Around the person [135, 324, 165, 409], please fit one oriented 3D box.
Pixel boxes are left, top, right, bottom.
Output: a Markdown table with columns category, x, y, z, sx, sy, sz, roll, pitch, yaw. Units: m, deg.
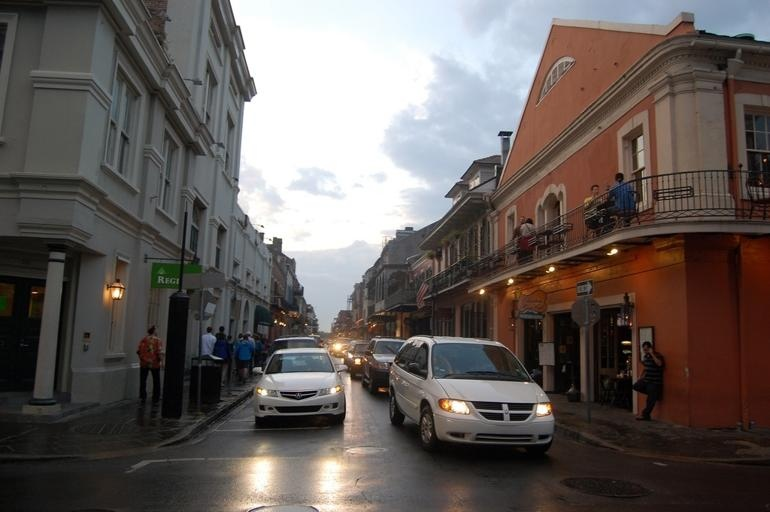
| category | x | y | z | sx | sy | sz | roll | pitch | yaw |
| --- | --- | --- | --- | --- | --- | --- | --- | --- | --- |
| person | -7.235 | 3.337 | 18.384 | 0.746 | 2.311 | 1.461 | 6 | -13 | -22 |

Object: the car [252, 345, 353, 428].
| category | x | y | z | sx | sy | sz | roll | pitch | yaw |
| --- | --- | --- | --- | --- | --- | --- | --- | --- | --- |
| car | -2.240 | 3.544 | 15.793 | 2.306 | 1.932 | 1.976 | 3 | -12 | -11 |

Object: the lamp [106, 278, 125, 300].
| category | x | y | z | sx | sy | sz | roll | pitch | yaw |
| --- | --- | --- | --- | --- | --- | --- | --- | --- | --- |
| lamp | -7.838 | 1.017 | 17.596 | 0.496 | 0.714 | 0.498 | 0 | 2 | -5 |

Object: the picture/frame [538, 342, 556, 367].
| category | x | y | z | sx | sy | sz | roll | pitch | yaw |
| --- | --- | --- | --- | --- | --- | --- | --- | --- | --- |
| picture/frame | 6.088 | 3.762 | 22.671 | 0.794 | 1.138 | 0.745 | 0 | -13 | 3 |

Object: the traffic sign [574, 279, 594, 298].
| category | x | y | z | sx | sy | sz | roll | pitch | yaw |
| --- | --- | --- | --- | --- | --- | --- | --- | --- | --- |
| traffic sign | 5.671 | 0.931 | 16.804 | 0.487 | 0.468 | 0.514 | 2 | 0 | -11 |

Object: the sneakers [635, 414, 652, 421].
| category | x | y | z | sx | sy | sz | roll | pitch | yaw |
| --- | --- | --- | --- | --- | --- | --- | --- | --- | --- |
| sneakers | 7.086 | 4.507 | 16.466 | 0.476 | 0.215 | 0.181 | 6 | -7 | -2 |

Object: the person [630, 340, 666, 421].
| category | x | y | z | sx | sy | sz | roll | pitch | yaw |
| --- | --- | --- | --- | --- | --- | --- | --- | --- | --- |
| person | 7.294 | 3.457 | 16.450 | 0.620 | 2.147 | 0.613 | 2 | -11 | -7 |

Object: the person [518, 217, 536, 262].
| category | x | y | z | sx | sy | sz | roll | pitch | yaw |
| --- | --- | --- | --- | --- | --- | --- | --- | --- | --- |
| person | 5.371 | -0.751 | 22.650 | 0.658 | 1.616 | 2.061 | -2 | -13 | 12 |
